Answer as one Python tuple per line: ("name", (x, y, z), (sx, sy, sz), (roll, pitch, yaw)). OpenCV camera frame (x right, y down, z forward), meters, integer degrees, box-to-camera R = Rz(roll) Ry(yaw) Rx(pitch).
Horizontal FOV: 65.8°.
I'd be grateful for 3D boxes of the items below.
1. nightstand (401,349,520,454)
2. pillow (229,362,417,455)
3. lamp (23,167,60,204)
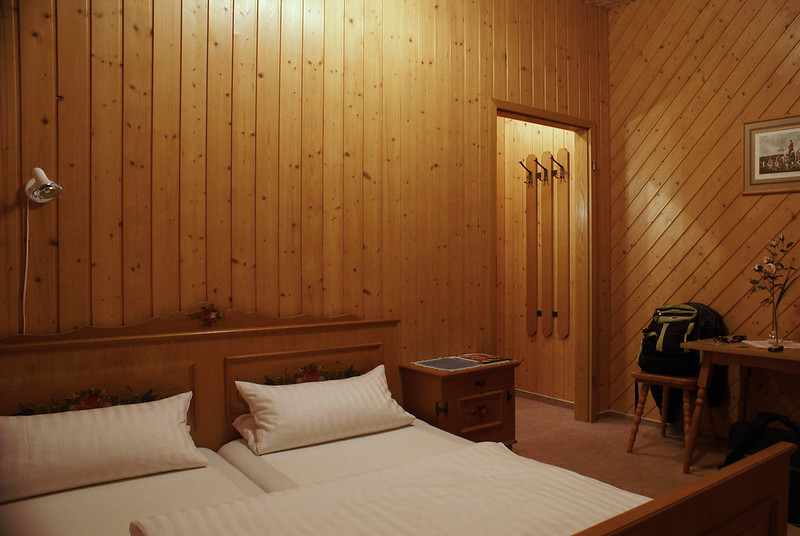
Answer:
("nightstand", (0.425, 0.989, 4.757), (0.875, 0.934, 0.587), (3, -6, -40))
("pillow", (-0.501, 0.890, 3.985), (1.030, 0.392, 0.335), (-5, 8, -23))
("lamp", (-2.054, -0.479, 3.588), (0.213, 0.208, 0.154), (5, 10, 40))
